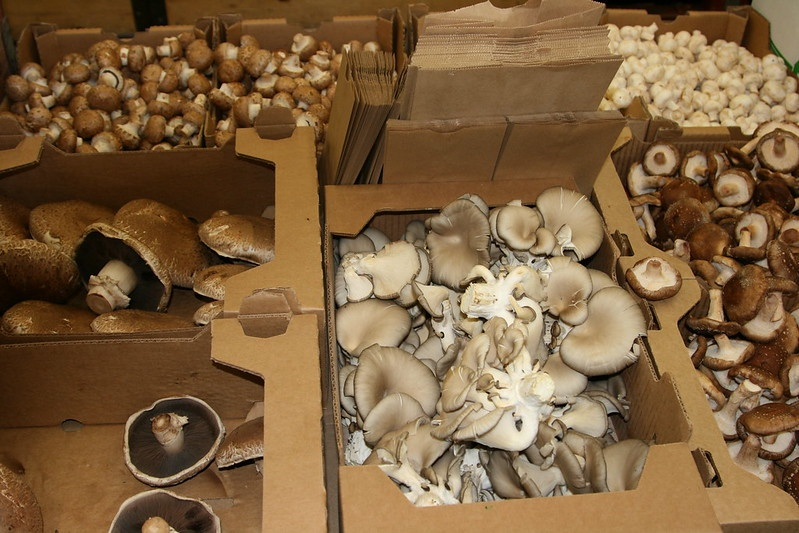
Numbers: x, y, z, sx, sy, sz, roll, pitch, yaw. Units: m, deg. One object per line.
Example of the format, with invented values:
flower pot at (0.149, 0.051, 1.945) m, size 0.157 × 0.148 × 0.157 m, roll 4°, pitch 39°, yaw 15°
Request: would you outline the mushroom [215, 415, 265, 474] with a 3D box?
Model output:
mushroom at (-0.886, 0.984, 4.665) m, size 0.267 × 0.236 × 0.258 m, roll -1°, pitch 43°, yaw -6°
